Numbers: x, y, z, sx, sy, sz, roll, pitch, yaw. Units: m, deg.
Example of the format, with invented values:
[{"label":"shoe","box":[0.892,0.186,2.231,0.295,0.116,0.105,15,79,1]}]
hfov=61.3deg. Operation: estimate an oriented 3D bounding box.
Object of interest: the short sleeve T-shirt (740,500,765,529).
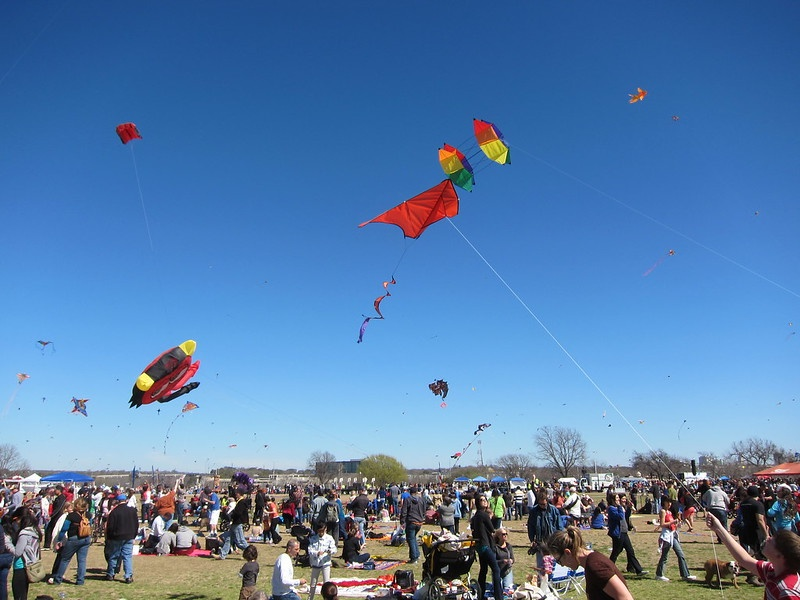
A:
[{"label":"short sleeve T-shirt","box":[8.269,5.050,15.842,0.360,0.710,0.624,5,-10,-21]}]

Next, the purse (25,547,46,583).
[{"label":"purse","box":[-7.161,5.305,13.264,0.175,0.461,0.516,-3,-24,-4]}]

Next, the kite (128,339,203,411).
[{"label":"kite","box":[-8.484,2.679,24.640,1.663,2.142,2.498,-11,-25,13]}]
